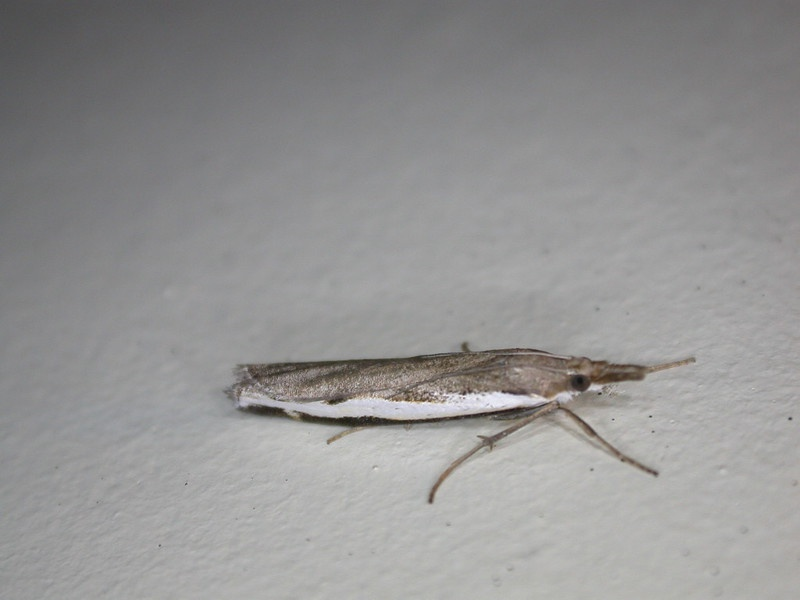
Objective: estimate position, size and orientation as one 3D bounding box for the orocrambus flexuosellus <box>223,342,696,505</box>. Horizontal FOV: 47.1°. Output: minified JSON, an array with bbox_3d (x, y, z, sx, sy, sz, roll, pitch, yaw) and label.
[{"bbox_3d":[0.392,0.579,5.927,2.792,1.267,0.308,-4,-69,7],"label":"orocrambus flexuosellus"}]
